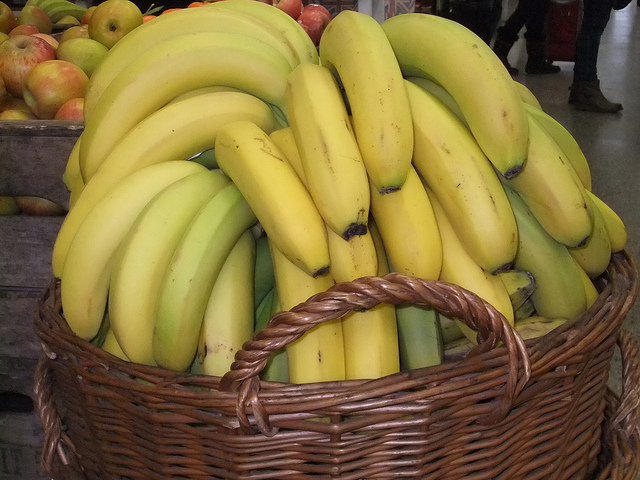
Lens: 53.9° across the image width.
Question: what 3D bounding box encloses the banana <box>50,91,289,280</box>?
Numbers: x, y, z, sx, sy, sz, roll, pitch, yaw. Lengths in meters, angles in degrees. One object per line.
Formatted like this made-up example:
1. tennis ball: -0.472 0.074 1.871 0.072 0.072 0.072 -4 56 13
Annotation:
1. banana: -0.242 -0.092 1.090 0.423 0.108 0.112 -37 -5 -12

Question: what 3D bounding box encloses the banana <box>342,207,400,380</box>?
1. banana: 0.069 0.109 1.108 0.067 0.358 0.104 -6 -5 21

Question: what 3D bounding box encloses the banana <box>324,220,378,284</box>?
1. banana: 0.064 0.002 1.027 0.086 0.054 0.178 8 -33 10

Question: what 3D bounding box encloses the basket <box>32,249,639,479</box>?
1. basket: 0.007 0.175 0.940 0.620 0.321 0.512 -8 0 -4

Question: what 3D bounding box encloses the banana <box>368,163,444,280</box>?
1. banana: 0.144 -0.018 1.084 0.072 0.271 0.085 -10 -8 5

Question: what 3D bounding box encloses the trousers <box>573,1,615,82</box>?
1. trousers: 1.608 -1.173 3.735 0.192 0.462 0.352 2 17 22

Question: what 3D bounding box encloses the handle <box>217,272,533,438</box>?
1. handle: 0.074 0.169 0.910 0.453 0.230 0.070 -4 15 -1

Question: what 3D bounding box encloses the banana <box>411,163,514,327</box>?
1. banana: 0.252 0.037 1.116 0.076 0.321 0.103 -23 -9 -18

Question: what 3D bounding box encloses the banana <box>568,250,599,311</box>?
1. banana: 0.493 0.073 1.179 0.031 0.122 0.039 -20 8 -7

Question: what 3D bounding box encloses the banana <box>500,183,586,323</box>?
1. banana: 0.383 0.014 1.091 0.064 0.236 0.075 -30 8 0

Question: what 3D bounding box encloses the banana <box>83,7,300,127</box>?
1. banana: -0.274 -0.394 1.212 0.415 0.234 0.089 -17 -16 4

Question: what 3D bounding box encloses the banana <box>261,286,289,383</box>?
1. banana: -0.086 0.157 1.135 0.040 0.186 0.060 -1 -17 -3

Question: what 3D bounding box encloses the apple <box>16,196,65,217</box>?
1. apple: -0.780 -0.100 1.755 0.085 0.059 0.087 -3 19 -20

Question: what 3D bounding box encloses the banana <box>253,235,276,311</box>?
1. banana: -0.103 0.062 1.187 0.035 0.141 0.043 1 23 -2

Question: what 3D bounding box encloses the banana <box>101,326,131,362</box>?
1. banana: -0.341 0.174 1.059 0.023 0.029 0.084 -8 35 -26

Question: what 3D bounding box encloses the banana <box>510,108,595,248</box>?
1. banana: 0.387 -0.135 1.134 0.084 0.266 0.085 -28 -14 -6

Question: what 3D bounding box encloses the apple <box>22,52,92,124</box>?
1. apple: -0.778 -0.457 1.850 0.149 0.180 0.148 31 3 -3

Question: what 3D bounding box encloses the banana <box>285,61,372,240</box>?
1. banana: 0.015 -0.140 1.064 0.101 0.327 0.102 -15 -5 2

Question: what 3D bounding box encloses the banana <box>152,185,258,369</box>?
1. banana: -0.241 0.143 1.146 0.156 0.514 0.107 -17 52 -28
